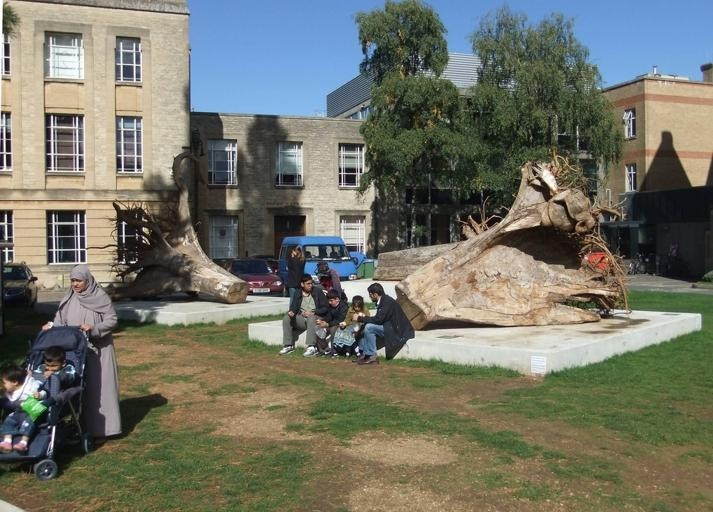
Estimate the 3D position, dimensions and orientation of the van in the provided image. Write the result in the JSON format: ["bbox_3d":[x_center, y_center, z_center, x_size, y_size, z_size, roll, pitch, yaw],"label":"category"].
[{"bbox_3d":[-1.992,0.390,29.111,4.363,2.446,2.359,-2,5,1],"label":"van"}]

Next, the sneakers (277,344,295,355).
[{"bbox_3d":[-1.532,2.079,15.257,0.129,0.160,0.398,1,-4,25],"label":"sneakers"}]

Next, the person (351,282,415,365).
[{"bbox_3d":[0.592,1.380,14.518,1.347,1.652,0.926,-3,-2,-13],"label":"person"}]
